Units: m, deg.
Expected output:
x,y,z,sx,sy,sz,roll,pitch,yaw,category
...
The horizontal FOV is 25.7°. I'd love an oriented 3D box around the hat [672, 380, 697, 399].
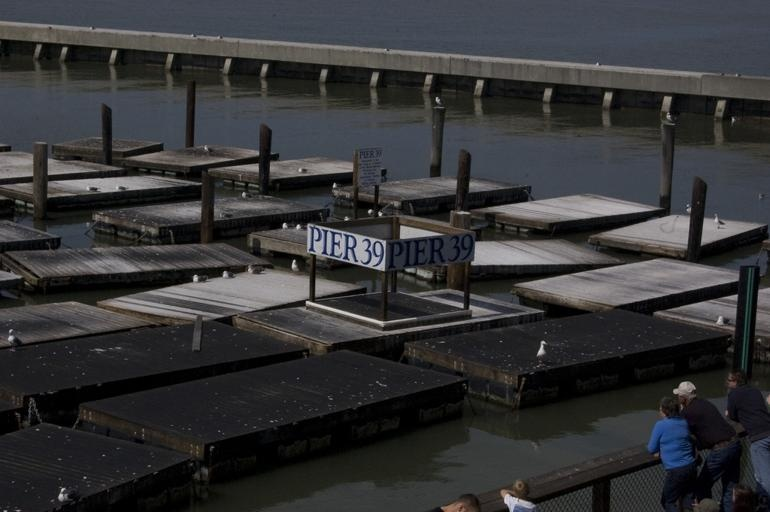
x,y,z,sx,sy,sz,roll,pitch,yaw,category
8.278,3.834,47.426,0.524,0.395,0.726,-10,14,-36,hat
